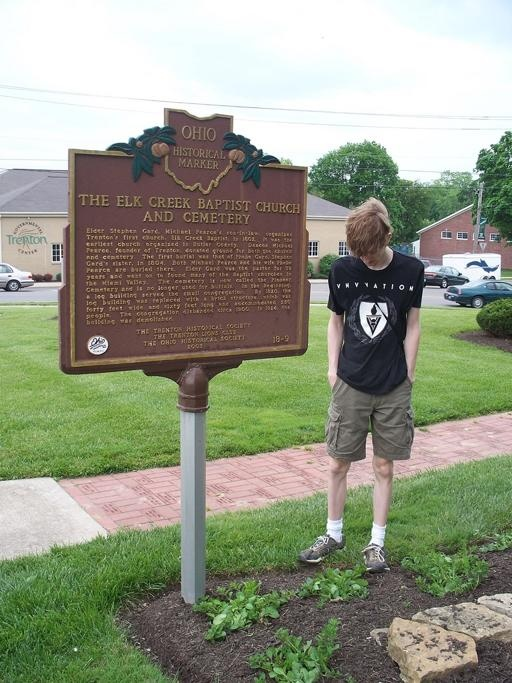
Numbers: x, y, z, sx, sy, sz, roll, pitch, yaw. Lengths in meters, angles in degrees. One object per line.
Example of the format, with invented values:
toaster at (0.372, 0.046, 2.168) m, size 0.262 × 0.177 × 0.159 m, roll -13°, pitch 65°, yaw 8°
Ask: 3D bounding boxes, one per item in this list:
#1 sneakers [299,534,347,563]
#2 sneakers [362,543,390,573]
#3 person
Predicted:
sneakers at (0.333, 1.061, 3.251) m, size 0.282 × 0.104 × 0.091 m, roll 2°, pitch 0°, yaw -38°
sneakers at (0.585, 1.056, 3.080) m, size 0.118 × 0.108 × 0.180 m, roll 3°, pitch 8°, yaw 7°
person at (0.528, 0.220, 3.110) m, size 0.512 × 1.817 × 0.452 m, roll 4°, pitch 9°, yaw 13°
